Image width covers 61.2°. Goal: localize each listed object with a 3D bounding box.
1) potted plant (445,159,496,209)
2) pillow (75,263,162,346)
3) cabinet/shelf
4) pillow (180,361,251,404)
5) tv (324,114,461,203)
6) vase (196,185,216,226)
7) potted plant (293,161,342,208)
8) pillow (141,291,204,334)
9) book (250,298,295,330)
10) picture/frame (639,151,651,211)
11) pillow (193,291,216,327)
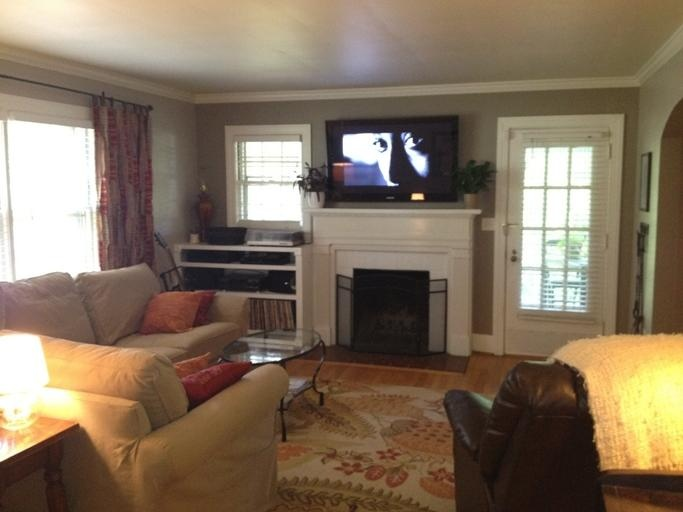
[{"bbox_3d":[1.259,-0.711,5.794,0.486,0.440,0.473,1,-3,2],"label":"potted plant"},{"bbox_3d":[-1.802,0.398,4.612,0.223,0.541,0.564,-28,-7,33],"label":"pillow"},{"bbox_3d":[-0.899,0.404,5.531,1.194,0.766,0.351,0,2,7],"label":"cabinet/shelf"},{"bbox_3d":[-0.704,0.687,3.160,0.279,0.197,0.082,-18,-19,-45],"label":"pillow"},{"bbox_3d":[0.515,-1.000,5.979,1.535,0.872,0.062,-5,11,-20],"label":"tv"},{"bbox_3d":[-1.553,-0.557,6.491,0.232,0.472,0.242,6,14,18],"label":"vase"},{"bbox_3d":[-0.250,-0.747,6.285,0.400,0.489,0.503,0,1,0],"label":"potted plant"},{"bbox_3d":[-1.435,0.469,4.762,0.359,0.102,0.340,2,46,-5],"label":"pillow"},{"bbox_3d":[-0.709,0.603,6.078,0.357,0.309,0.143,1,10,12],"label":"book"},{"bbox_3d":[2.624,-0.635,5.045,0.035,0.507,0.460,4,8,39],"label":"picture/frame"},{"bbox_3d":[-1.202,0.461,5.037,0.074,0.246,0.240,21,39,-26],"label":"pillow"}]
